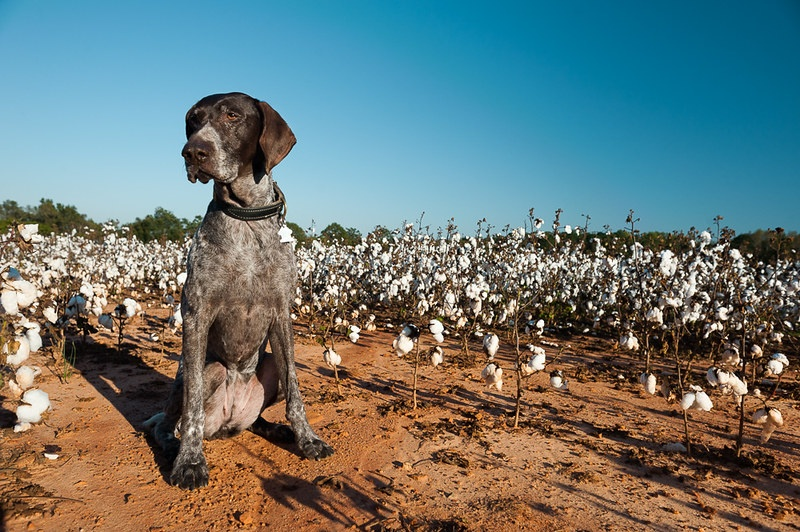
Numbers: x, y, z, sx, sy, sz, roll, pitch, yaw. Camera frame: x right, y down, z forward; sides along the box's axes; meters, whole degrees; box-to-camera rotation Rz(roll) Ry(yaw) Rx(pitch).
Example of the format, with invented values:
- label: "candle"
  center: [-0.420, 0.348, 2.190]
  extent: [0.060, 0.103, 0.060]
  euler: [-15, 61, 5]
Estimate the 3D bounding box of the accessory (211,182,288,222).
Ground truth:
- label: "accessory"
  center: [-1.602, -0.588, 4.834]
  extent: [0.714, 0.168, 0.727]
  euler: [-12, -7, 31]
